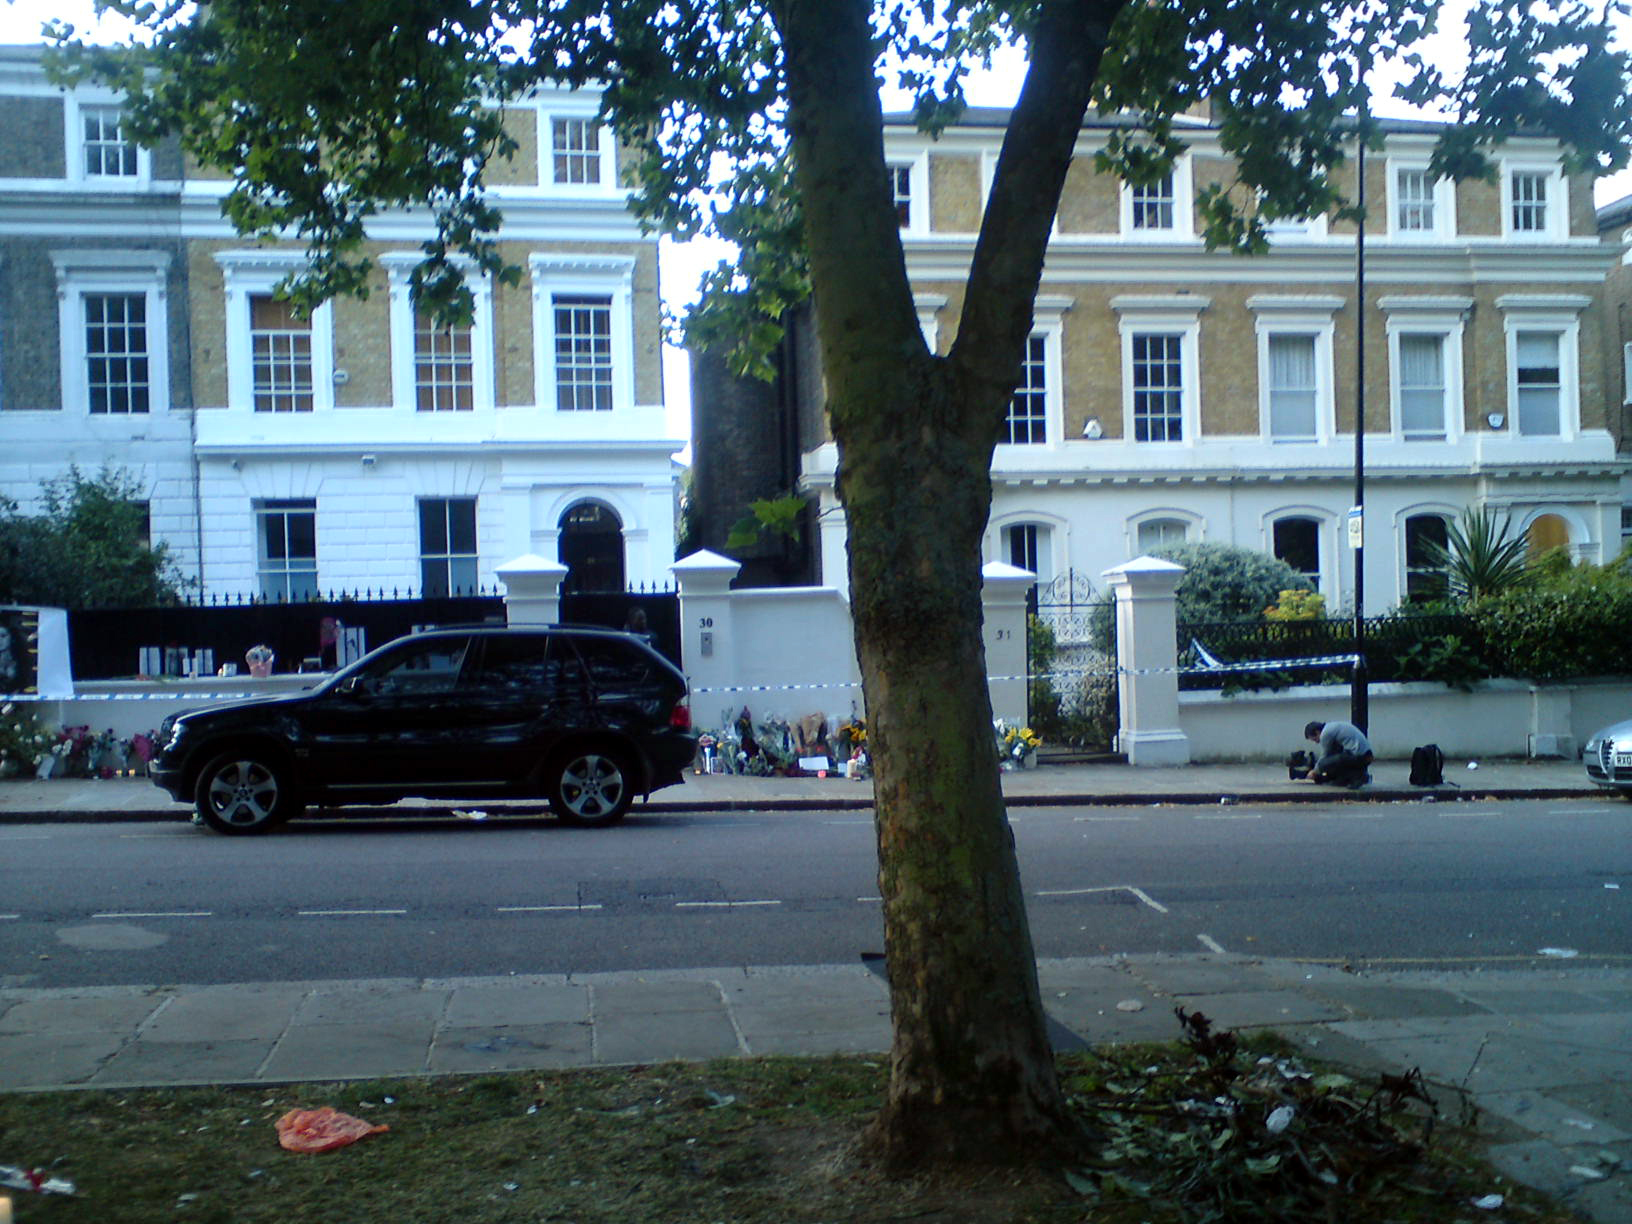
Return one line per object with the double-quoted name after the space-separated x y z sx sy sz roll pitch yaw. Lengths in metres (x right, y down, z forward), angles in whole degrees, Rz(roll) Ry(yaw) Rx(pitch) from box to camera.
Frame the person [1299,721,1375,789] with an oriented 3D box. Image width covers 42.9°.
6.591 1.824 26.463 0.714 0.976 0.895 -2 2 -41 "person"
